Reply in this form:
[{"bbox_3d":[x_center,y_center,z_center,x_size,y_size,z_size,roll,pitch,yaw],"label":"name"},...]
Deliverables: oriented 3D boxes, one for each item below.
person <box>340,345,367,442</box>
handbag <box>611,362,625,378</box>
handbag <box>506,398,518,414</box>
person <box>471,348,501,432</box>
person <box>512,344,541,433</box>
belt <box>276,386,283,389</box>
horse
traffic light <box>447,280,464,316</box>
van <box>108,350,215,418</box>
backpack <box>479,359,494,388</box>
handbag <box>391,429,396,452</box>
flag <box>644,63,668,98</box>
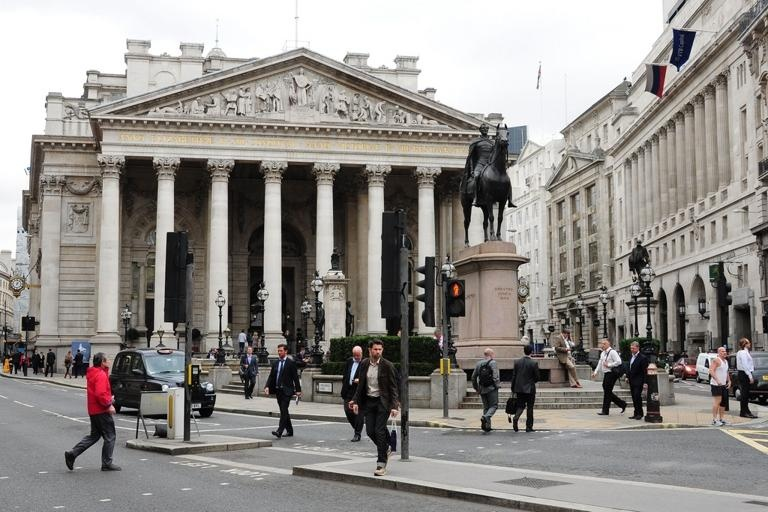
[{"bbox_3d":[-1.066,5.479,43.273,1.169,3.705,1.527,1,6,-15],"label":"person"},{"bbox_3d":[10.210,5.089,48.211,0.324,0.628,0.937,-5,-12,30],"label":"handbag"},{"bbox_3d":[5.126,6.124,44.724,0.451,0.668,0.419,-3,-10,19],"label":"handbag"},{"bbox_3d":[4.192,5.624,45.446,1.067,3.360,1.189,0,-6,-6],"label":"person"},{"bbox_3d":[5.782,5.477,45.134,1.075,3.471,1.252,2,-5,0],"label":"person"},{"bbox_3d":[-4.221,5.380,44.718,0.279,0.154,0.027,-4,-11,21],"label":"belt"},{"bbox_3d":[4.833,-3.369,51.681,1.965,5.773,3.609,4,-10,-18],"label":"horse"},{"bbox_3d":[2.908,1.712,45.195,0.685,1.582,1.190,0,-10,1],"label":"traffic light"},{"bbox_3d":[-10.442,5.898,51.360,2.999,2.836,5.705,3,-2,-40],"label":"van"},{"bbox_3d":[4.201,4.905,45.271,0.609,1.100,0.281,0,-10,4],"label":"backpack"},{"bbox_3d":[0.316,6.475,38.398,0.174,0.696,0.521,-1,-10,9],"label":"handbag"},{"bbox_3d":[19.764,-12.607,80.315,1.318,2.669,3.394,-2,-10,13],"label":"flag"}]
